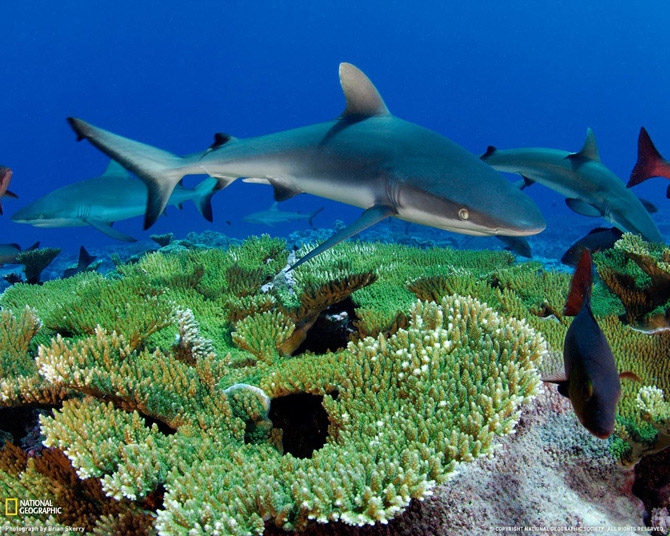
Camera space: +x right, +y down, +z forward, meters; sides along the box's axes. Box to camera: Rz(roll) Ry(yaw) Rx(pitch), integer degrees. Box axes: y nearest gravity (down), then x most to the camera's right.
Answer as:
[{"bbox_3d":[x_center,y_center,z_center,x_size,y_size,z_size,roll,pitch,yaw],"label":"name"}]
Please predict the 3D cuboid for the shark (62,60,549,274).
[{"bbox_3d":[-0.523,-1.057,6.074,5.070,1.464,2.141,9,22,30],"label":"shark"}]

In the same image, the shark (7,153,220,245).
[{"bbox_3d":[-3.910,-1.328,11.155,4.116,1.235,1.255,-10,24,-40],"label":"shark"}]

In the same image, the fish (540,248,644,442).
[{"bbox_3d":[1.640,0.483,4.199,0.719,0.540,1.338,6,54,3],"label":"fish"}]
